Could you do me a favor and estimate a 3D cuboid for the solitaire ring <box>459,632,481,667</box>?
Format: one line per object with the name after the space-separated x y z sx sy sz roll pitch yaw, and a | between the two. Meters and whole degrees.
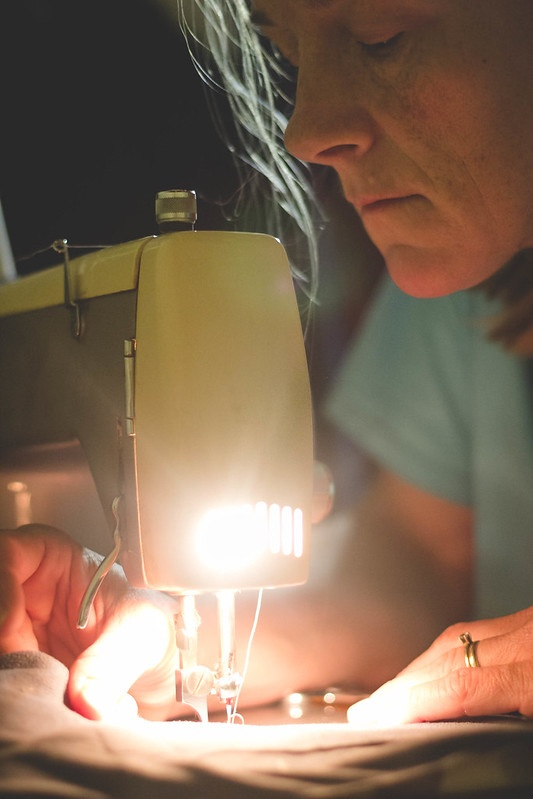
0.196 0.244 0.756 0.013 0.025 0.033 -15 94 10 | solitaire ring
